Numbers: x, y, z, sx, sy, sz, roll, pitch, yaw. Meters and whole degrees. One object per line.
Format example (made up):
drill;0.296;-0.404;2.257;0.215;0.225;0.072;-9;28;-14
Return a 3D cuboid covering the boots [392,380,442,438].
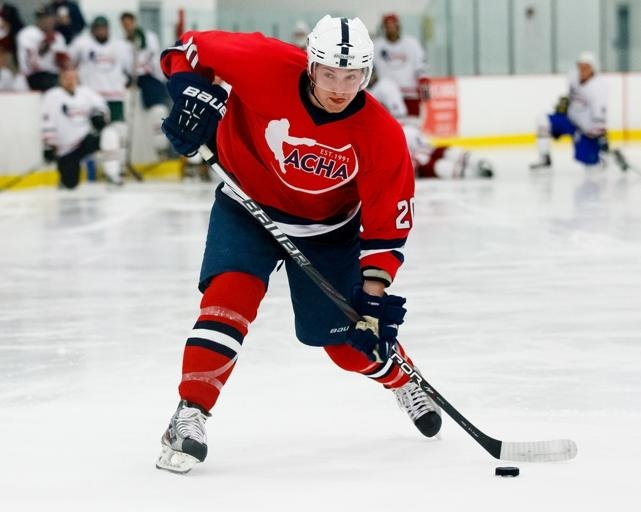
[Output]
boots;0.256;0.400;2.258;0.065;0.075;0.187;-40;37;10

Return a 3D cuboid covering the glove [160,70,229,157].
glove;-0.307;-0.363;2.302;0.202;0.217;0.083;23;-6;18

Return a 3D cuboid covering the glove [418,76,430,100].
glove;0.959;-1.564;7.876;0.076;0.201;0.181;-2;3;8

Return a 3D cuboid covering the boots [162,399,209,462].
boots;-0.314;0.405;1.956;0.109;0.108;0.134;-2;13;-5

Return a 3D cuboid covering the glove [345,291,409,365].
glove;0.140;0.185;2.113;0.076;0.163;0.180;-10;-26;42

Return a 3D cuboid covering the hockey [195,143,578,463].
hockey;0.220;0.168;2.632;0.148;1.683;0.249;-48;-8;-17

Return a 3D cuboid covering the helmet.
helmet;0.042;-0.512;2.076;0.144;0.153;0.169;1;9;-4
